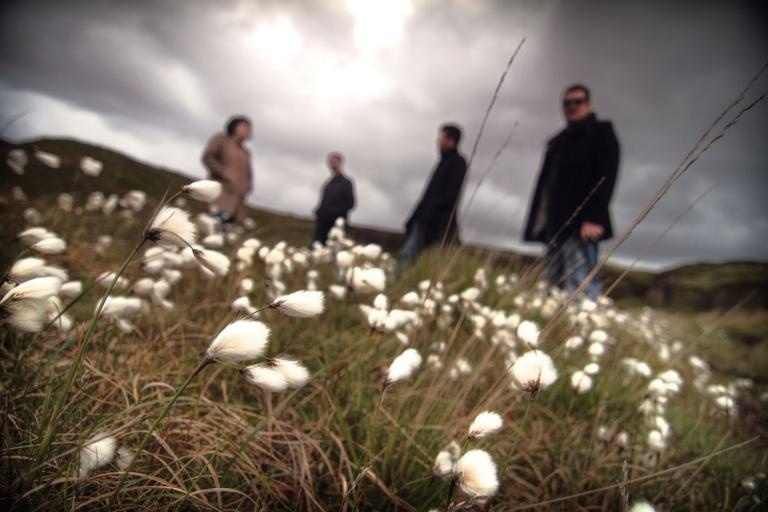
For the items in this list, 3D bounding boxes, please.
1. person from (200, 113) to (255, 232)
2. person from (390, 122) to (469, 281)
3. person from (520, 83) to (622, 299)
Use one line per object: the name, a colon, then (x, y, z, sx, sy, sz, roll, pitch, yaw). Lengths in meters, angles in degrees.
person: (-1.144, -0.653, 4.043, 0.417, 0.770, 0.271, 13, 17, -6)
person: (0.356, -0.406, 3.817, 0.315, 1.014, 0.415, 15, 17, 2)
person: (1.252, -0.464, 3.561, 0.501, 1.213, 0.673, 9, 18, -19)
